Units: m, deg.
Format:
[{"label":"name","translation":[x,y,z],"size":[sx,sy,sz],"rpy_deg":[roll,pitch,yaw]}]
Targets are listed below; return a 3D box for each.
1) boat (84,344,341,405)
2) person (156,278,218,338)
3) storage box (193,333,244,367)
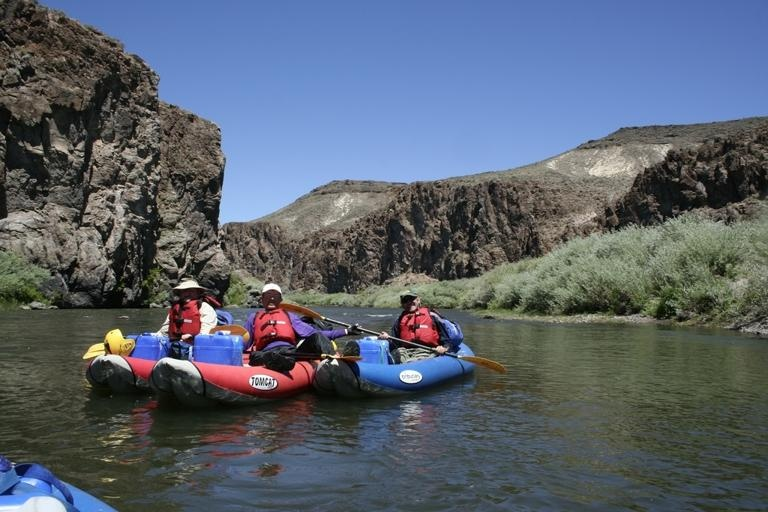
[{"label":"boat","translation":[-3.232,2.110,10.869],"size":[3.669,0.912,1.468],"rpy_deg":[0,5,-11]},{"label":"person","translation":[-3.719,1.013,11.782],"size":[0.889,1.121,0.749],"rpy_deg":[-4,8,-41]},{"label":"storage box","translation":[-2.918,1.645,10.692],"size":[0.862,0.491,0.369],"rpy_deg":[0,-26,-3]}]
